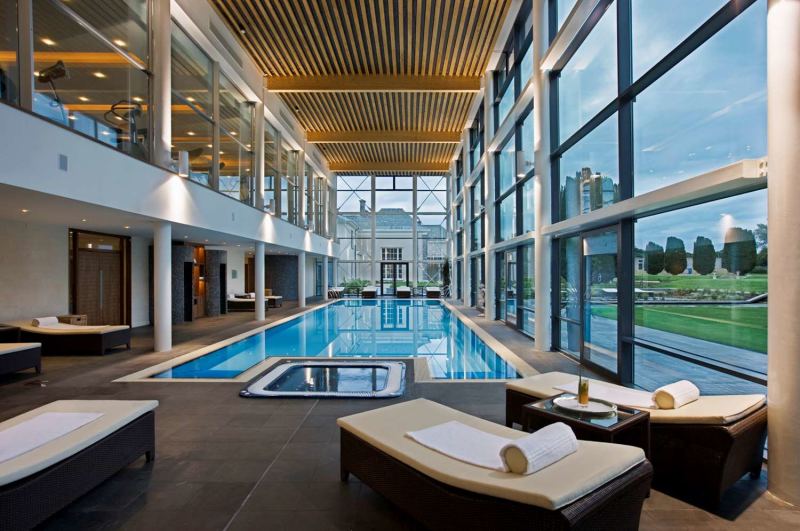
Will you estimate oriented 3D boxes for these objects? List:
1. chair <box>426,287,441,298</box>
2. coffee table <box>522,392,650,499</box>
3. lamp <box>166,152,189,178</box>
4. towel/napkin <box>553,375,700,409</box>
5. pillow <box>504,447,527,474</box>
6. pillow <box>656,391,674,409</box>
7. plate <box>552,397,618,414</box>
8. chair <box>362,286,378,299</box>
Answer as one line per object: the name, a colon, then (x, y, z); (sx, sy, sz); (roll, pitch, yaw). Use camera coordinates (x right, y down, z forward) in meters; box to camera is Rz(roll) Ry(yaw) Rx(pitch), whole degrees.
chair: (1.794, 1.484, 26.914); (0.761, 0.502, 0.929); (1, 2, 6)
coffee table: (2.115, 2.294, 5.927); (0.979, 1.047, 1.437); (0, -2, -35)
lamp: (-4.679, -2.123, 10.870); (0.365, 0.495, 0.672); (0, 2, -18)
towel/napkin: (2.861, 1.610, 6.443); (0.694, 0.182, 1.008); (1, -1, -38)
pillow: (1.145, 1.934, 5.072); (0.201, 0.259, 0.273); (-5, -14, 25)
pillow: (3.071, 1.576, 5.966); (0.175, 0.184, 0.219); (7, 5, 39)
plate: (2.146, 1.650, 5.958); (0.371, 0.041, 0.246); (3, 3, 40)
chair: (-1.582, 1.512, 27.144); (0.592, 0.429, 0.588); (-1, -8, -2)
